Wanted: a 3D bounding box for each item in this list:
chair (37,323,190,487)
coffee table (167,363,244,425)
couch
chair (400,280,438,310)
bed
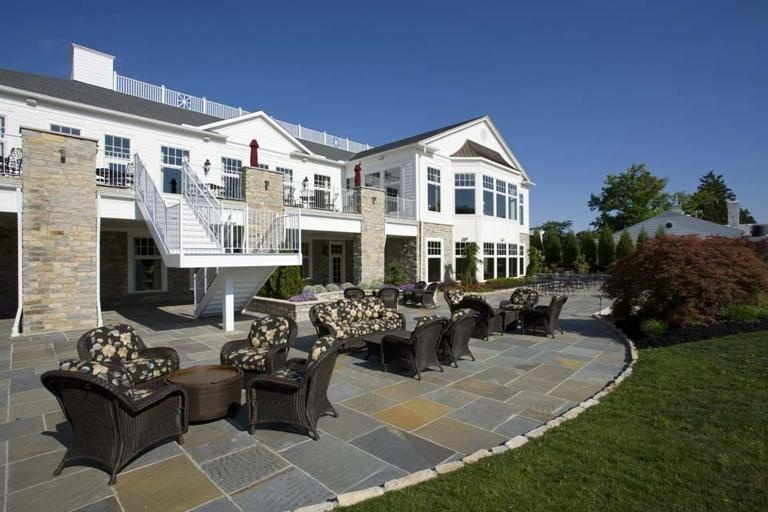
[{"bbox_3d":[-4.576,2.722,8.831,2.290,2.306,2.652,3,3,16],"label":"chair"},{"bbox_3d":[-3.312,2.539,9.017,1.096,0.987,1.099,3,-4,-25],"label":"coffee table"},{"bbox_3d":[-0.614,1.572,11.726,2.386,1.080,1.187,2,-3,-42],"label":"couch"},{"bbox_3d":[1.469,1.575,18.375,0.884,0.983,1.519,1,-5,-25],"label":"chair"},{"bbox_3d":[-1.985,2.281,9.241,1.683,2.043,2.415,1,-3,-30],"label":"bed"}]
